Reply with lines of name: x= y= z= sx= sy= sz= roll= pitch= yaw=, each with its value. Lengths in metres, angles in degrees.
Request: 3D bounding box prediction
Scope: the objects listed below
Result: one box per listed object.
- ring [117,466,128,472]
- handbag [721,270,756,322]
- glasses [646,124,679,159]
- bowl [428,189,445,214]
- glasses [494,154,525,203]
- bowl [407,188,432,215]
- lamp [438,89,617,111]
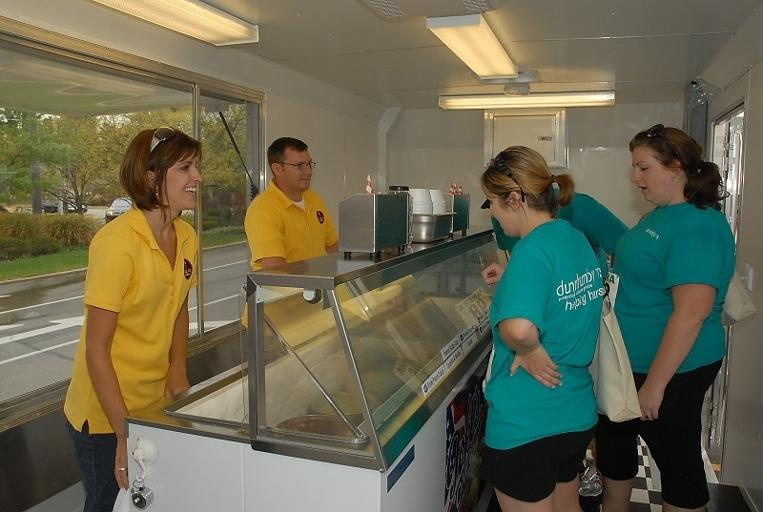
ring: x=-1.056 y=0.847 z=1.929 sx=0.023 sy=0.009 sz=0.018 roll=0 pitch=3 yaw=27
handbag: x=1.890 y=0.233 z=2.509 sx=0.094 sy=0.330 sz=0.294 roll=3 pitch=4 yaw=37
glasses: x=1.365 y=-0.532 z=2.255 sx=0.047 sy=0.155 sz=0.149 roll=-16 pitch=10 yaw=3
bowl: x=0.310 y=-0.288 z=2.546 sx=0.103 sy=0.136 sz=0.200 roll=0 pitch=6 yaw=19
glasses: x=0.529 y=-0.307 z=1.930 sx=0.041 sy=0.152 sz=0.153 roll=-26 pitch=49 yaw=-5
bowl: x=0.215 y=-0.283 z=2.437 sx=0.150 sy=0.143 sz=0.113 roll=3 pitch=14 yaw=17
lamp: x=1.527 y=-1.620 z=4.974 sx=1.736 sy=0.178 sz=0.289 roll=0 pitch=6 yaw=11
